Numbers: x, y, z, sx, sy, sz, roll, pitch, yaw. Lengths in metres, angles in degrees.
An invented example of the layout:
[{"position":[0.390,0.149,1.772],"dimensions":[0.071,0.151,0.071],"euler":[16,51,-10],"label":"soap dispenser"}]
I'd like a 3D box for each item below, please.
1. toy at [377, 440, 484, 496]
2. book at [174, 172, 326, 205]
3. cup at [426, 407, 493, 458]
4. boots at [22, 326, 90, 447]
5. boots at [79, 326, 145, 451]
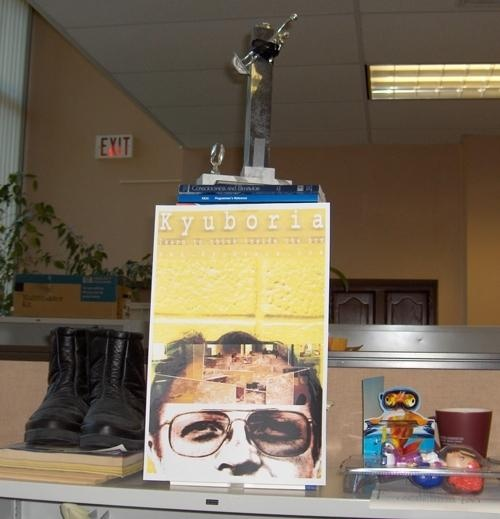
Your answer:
[{"position":[0.225,0.250,0.763],"dimensions":[0.118,0.043,0.132],"euler":[1,-3,12],"label":"toy"},{"position":[0.005,-0.081,0.739],"dimensions":[0.170,0.043,0.089],"euler":[1,-3,10],"label":"book"},{"position":[0.283,0.231,0.828],"dimensions":[0.075,0.050,0.064],"euler":[-3,-12,17],"label":"cup"},{"position":[-0.268,0.177,0.867],"dimensions":[0.073,0.149,0.166],"euler":[-4,-2,-2],"label":"boots"},{"position":[-0.195,0.184,0.855],"dimensions":[0.078,0.162,0.179],"euler":[-2,-5,-5],"label":"boots"}]
